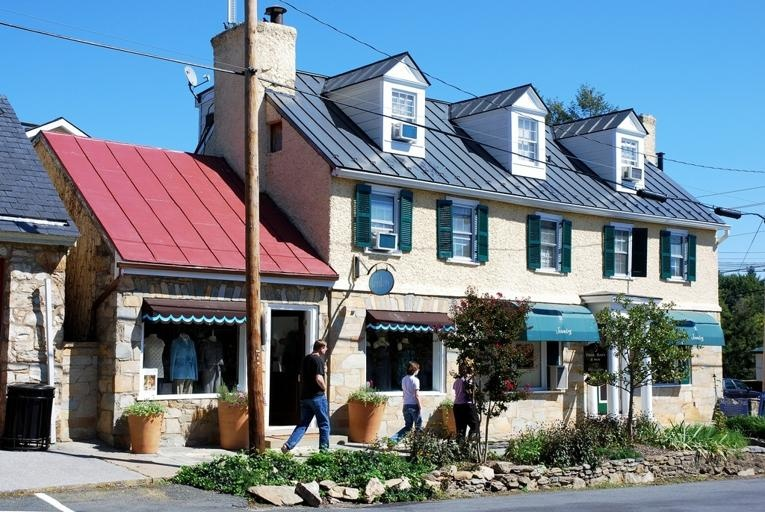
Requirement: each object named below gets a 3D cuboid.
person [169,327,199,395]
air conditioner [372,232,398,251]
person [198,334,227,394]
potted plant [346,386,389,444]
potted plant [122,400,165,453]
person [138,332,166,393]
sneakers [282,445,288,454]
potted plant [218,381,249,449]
[{"bbox_3d":[-5.494,2.911,30.480,0.770,1.736,0.240,6,-12,-29],"label":"person"},{"bbox_3d":[0.088,-0.408,33.268,0.901,0.641,0.490,3,-4,-44],"label":"air conditioner"},{"bbox_3d":[-4.779,2.942,30.908,0.678,1.750,0.235,5,-12,-22],"label":"person"},{"bbox_3d":[-0.526,4.707,32.237,1.206,1.310,1.203,6,-5,5],"label":"potted plant"},{"bbox_3d":[-6.240,4.574,29.087,0.994,1.163,1.016,-1,-4,-3],"label":"potted plant"},{"bbox_3d":[-6.232,2.936,29.999,0.822,1.723,0.269,9,-14,-40],"label":"person"},{"bbox_3d":[-2.456,4.884,27.864,0.110,0.113,0.187,2,-48,5],"label":"sneakers"},{"bbox_3d":[-4.079,4.417,30.063,0.915,1.740,0.532,-1,-11,5],"label":"potted plant"}]
